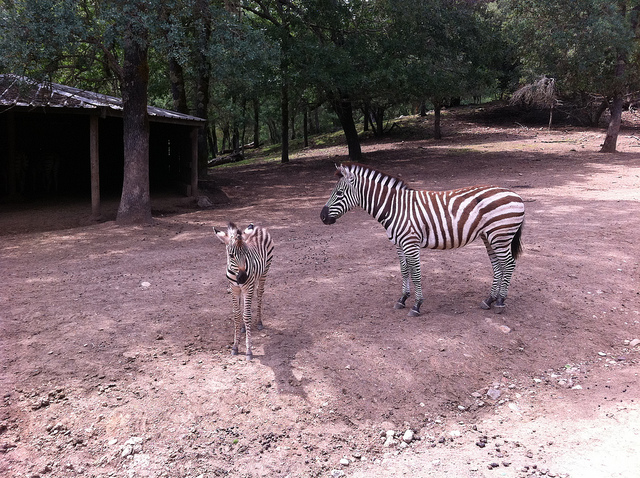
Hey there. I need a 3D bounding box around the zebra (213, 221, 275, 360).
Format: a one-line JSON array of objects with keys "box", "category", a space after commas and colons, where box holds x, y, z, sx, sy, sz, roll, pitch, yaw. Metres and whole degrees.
[{"box": [-1.184, 0.742, 8.509, 0.472, 2.148, 1.073, -1, 14, 14], "category": "zebra"}]
